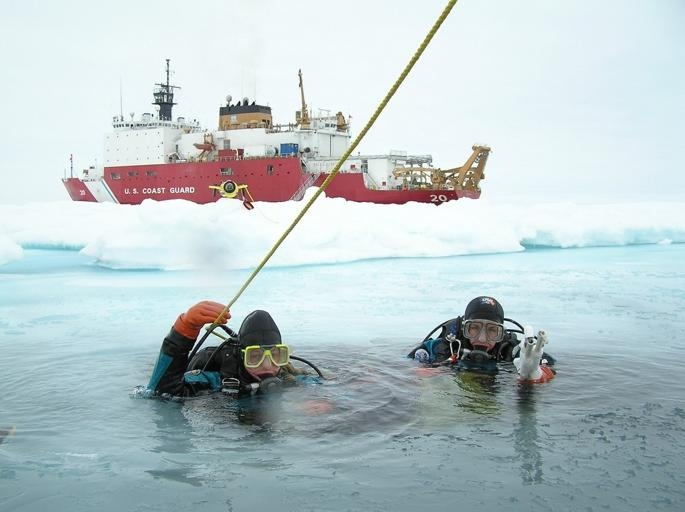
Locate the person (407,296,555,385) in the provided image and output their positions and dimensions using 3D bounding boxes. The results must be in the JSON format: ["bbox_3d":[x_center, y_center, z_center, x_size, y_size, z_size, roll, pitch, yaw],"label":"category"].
[{"bbox_3d":[1.860,1.113,8.625,1.426,0.518,1.544,1,2,11],"label":"person"}]

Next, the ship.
[{"bbox_3d":[-4.647,-6.329,38.398,26.490,5.456,3.910,3,19,21],"label":"ship"}]

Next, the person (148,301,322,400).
[{"bbox_3d":[-1.394,1.313,8.267,1.773,0.905,2.407,-1,-15,33],"label":"person"}]
